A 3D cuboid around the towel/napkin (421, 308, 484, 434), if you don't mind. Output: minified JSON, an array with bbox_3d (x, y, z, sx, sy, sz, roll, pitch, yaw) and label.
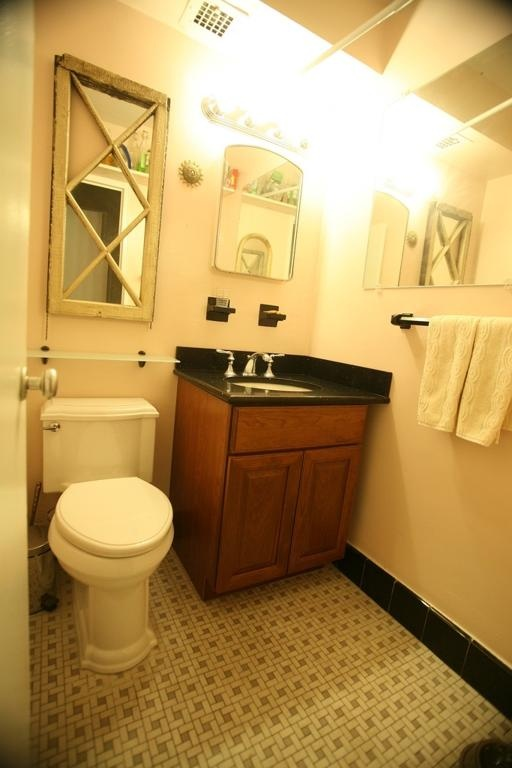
[{"bbox_3d":[0.601,-0.038,1.628,0.042,0.354,0.179,4,3,-30],"label":"towel/napkin"}]

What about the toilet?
[{"bbox_3d":[-0.476,0.434,1.678,0.378,0.613,0.656,0,15,-23],"label":"toilet"}]
